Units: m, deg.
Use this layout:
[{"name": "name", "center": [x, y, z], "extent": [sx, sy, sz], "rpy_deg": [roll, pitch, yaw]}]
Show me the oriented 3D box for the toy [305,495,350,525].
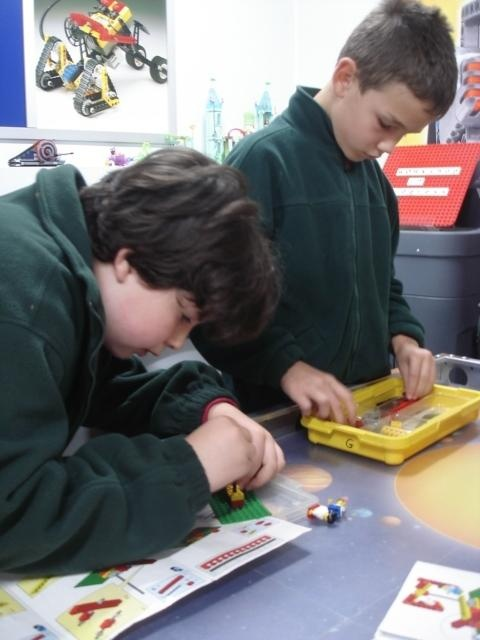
[{"name": "toy", "center": [0.098, 0.213, 0.582], "extent": [0.027, 0.012, 0.027], "rpy_deg": [2, 14, 35]}]
